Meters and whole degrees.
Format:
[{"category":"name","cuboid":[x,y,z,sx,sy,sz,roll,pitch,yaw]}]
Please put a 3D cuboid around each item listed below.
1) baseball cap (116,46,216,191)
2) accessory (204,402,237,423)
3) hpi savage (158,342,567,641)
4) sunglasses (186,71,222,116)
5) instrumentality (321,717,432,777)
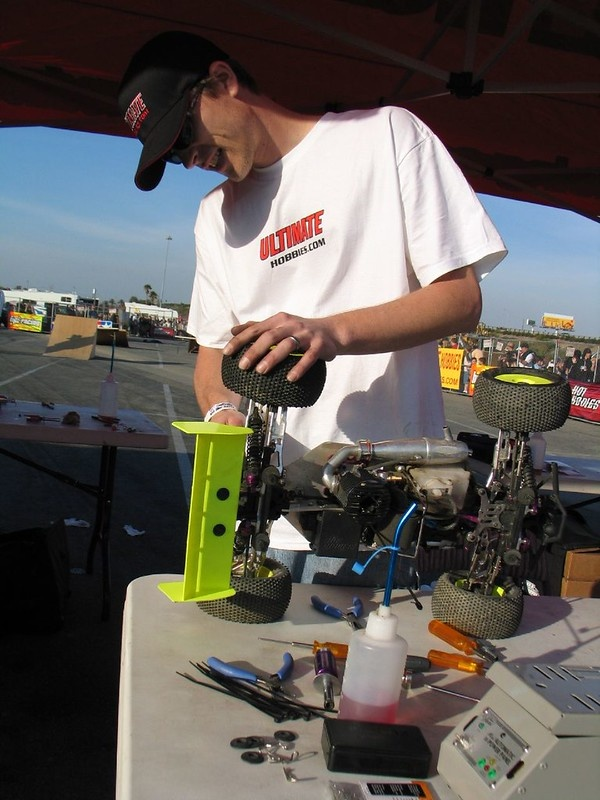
[{"category":"baseball cap","cuboid":[-0.301,-0.650,1.326,0.225,0.335,0.151,6,-1,-2]},{"category":"accessory","cuboid":[-0.175,0.029,1.342,0.054,0.051,0.020,-3,56,-49]},{"category":"hpi savage","cuboid":[0.120,0.185,1.126,0.792,0.445,0.327,8,-2,-18]},{"category":"sunglasses","cuboid":[-0.209,-0.646,1.294,0.068,0.082,0.032,1,30,-38]},{"category":"instrumentality","cuboid":[0.100,0.443,0.769,0.132,0.033,0.075,5,1,-2]}]
